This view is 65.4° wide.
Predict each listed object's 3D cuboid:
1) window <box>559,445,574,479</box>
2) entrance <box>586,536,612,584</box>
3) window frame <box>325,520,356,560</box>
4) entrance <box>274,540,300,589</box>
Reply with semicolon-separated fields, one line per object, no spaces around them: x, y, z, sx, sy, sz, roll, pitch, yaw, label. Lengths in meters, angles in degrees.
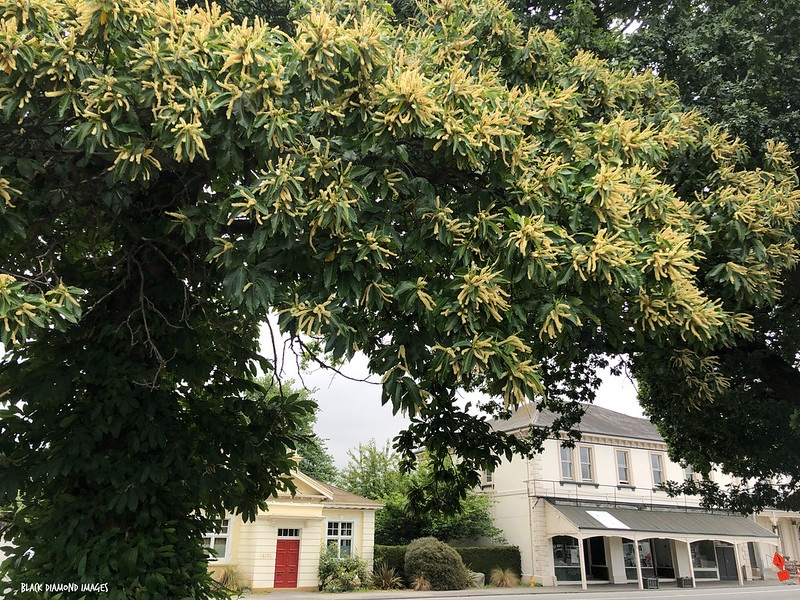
7.937;7.983;30.083;0.480;1.503;0.873;-17;-26;36;window
9.307;12.567;30.138;1.044;1.935;0.493;-9;-22;20;entrance
-2.495;9.625;24.778;1.133;1.395;0.153;21;-31;-39;window frame
-4.196;9.769;23.010;0.226;1.697;0.965;-18;-27;39;entrance
